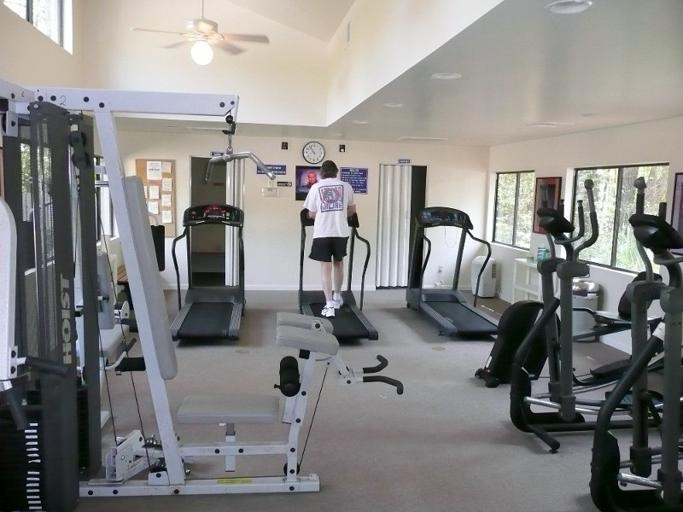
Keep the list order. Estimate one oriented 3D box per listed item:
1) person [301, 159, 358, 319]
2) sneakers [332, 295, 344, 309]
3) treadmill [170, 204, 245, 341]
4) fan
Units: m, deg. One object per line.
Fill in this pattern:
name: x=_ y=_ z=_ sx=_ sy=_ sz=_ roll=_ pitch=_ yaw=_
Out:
person: x=-0.174 y=-0.243 z=7.194 sx=0.669 sy=2.024 sz=0.600 roll=3 pitch=8 yaw=-6
sneakers: x=-0.053 y=0.598 z=7.318 sx=0.119 sy=0.154 sz=0.360 roll=0 pitch=-11 yaw=3
treadmill: x=-1.603 y=0.324 z=6.927 sx=1.053 sy=1.820 sz=1.026 roll=3 pitch=8 yaw=-12
fan: x=-1.971 y=-3.028 z=7.413 sx=1.439 sy=0.993 sz=1.465 roll=5 pitch=9 yaw=3
